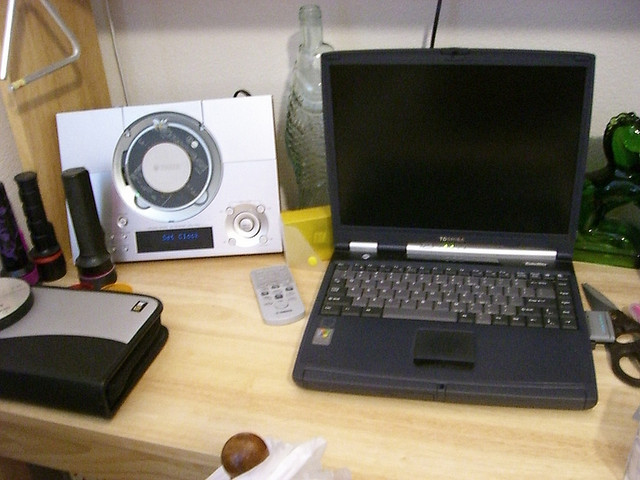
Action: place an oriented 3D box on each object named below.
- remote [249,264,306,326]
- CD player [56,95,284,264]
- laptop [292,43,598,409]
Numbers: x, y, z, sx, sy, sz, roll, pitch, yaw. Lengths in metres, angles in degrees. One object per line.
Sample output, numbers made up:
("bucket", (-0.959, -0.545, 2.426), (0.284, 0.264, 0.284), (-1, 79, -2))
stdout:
("remote", (-0.075, 0.082, 0.884), (0.068, 0.142, 0.014), (-11, 40, 0))
("CD player", (-0.273, -0.118, 1.006), (0.418, 0.335, 0.104), (-10, -5, 5))
("laptop", (0.208, 0.019, 0.941), (0.487, 0.399, 0.545), (5, 59, 12))
